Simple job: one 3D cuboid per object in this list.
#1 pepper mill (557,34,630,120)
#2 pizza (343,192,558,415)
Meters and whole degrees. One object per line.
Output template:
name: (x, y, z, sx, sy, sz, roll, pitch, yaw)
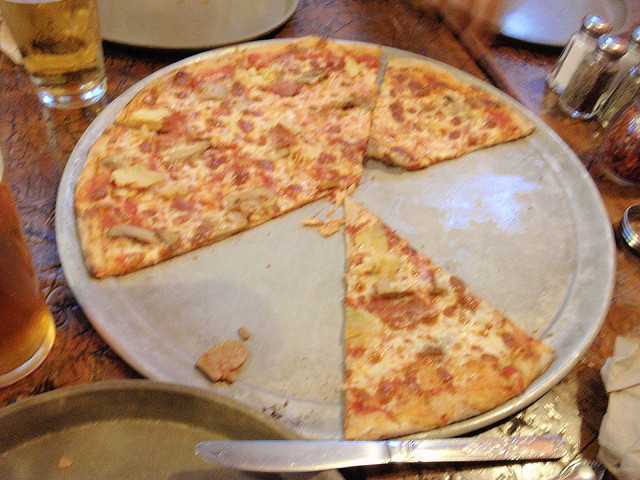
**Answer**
pepper mill: (0.667, -0.395, 1.368, 0.100, 0.186, 0.102, -11, 48, -22)
pizza: (0.224, 0.114, 1.041, 0.362, 0.086, 0.443, 3, 57, -3)
